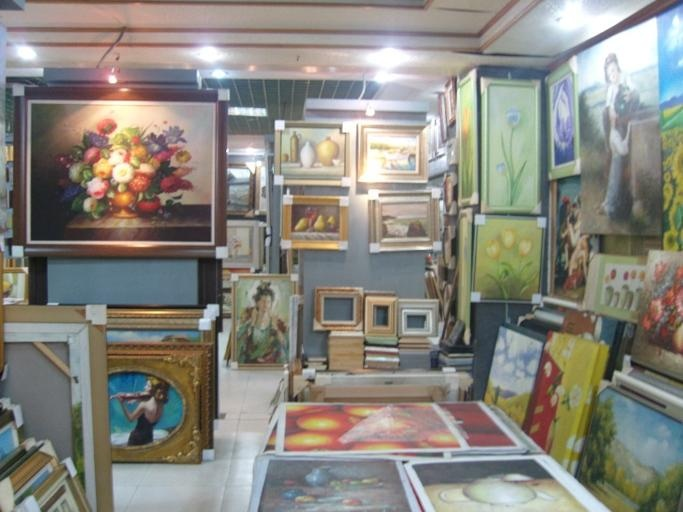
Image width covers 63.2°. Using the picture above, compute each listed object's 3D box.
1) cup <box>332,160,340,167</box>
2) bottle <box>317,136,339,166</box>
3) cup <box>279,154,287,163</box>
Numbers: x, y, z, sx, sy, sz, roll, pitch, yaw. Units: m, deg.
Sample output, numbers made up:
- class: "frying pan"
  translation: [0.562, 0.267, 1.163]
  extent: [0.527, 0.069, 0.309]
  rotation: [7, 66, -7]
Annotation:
- class: "cup"
  translation: [-0.052, -0.835, 5.016]
  extent: [0.058, 0.046, 0.060]
  rotation: [-3, -12, -1]
- class: "bottle"
  translation: [-0.124, -0.949, 5.001]
  extent: [0.213, 0.267, 0.220]
  rotation: [1, 7, 0]
- class: "cup"
  translation: [-0.527, -0.876, 5.007]
  extent: [0.066, 0.060, 0.056]
  rotation: [13, -19, -41]
